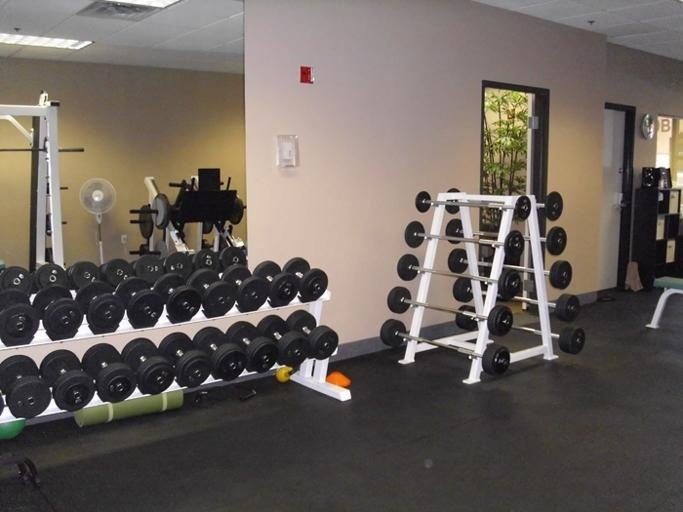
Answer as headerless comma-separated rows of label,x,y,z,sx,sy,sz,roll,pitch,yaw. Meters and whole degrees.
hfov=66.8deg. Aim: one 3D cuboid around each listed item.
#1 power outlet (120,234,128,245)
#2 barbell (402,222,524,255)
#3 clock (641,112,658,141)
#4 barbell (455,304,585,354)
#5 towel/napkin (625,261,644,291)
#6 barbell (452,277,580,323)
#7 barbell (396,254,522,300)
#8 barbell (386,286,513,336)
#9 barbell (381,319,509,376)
power outlet,-1.392,-0.106,3.331,0.049,0.101,0.052,0,2,-9
barbell,0.903,-0.125,3.945,0.911,0.263,0.250,9,-11,42
clock,3.867,-1.636,6.521,0.303,0.354,0.035,-17,17,-41
barbell,1.083,0.484,4.032,0.143,0.152,0.605,-23,-1,-14
towel/napkin,3.642,0.248,6.425,0.178,0.335,0.264,8,14,38
barbell,1.362,0.340,4.183,0.920,0.277,0.260,9,15,30
barbell,0.940,0.073,4.015,0.499,0.372,0.985,-4,11,-44
barbell,0.786,0.407,3.941,0.915,0.254,0.230,9,7,34
barbell,0.775,0.692,3.958,1.029,0.278,0.294,9,14,39
